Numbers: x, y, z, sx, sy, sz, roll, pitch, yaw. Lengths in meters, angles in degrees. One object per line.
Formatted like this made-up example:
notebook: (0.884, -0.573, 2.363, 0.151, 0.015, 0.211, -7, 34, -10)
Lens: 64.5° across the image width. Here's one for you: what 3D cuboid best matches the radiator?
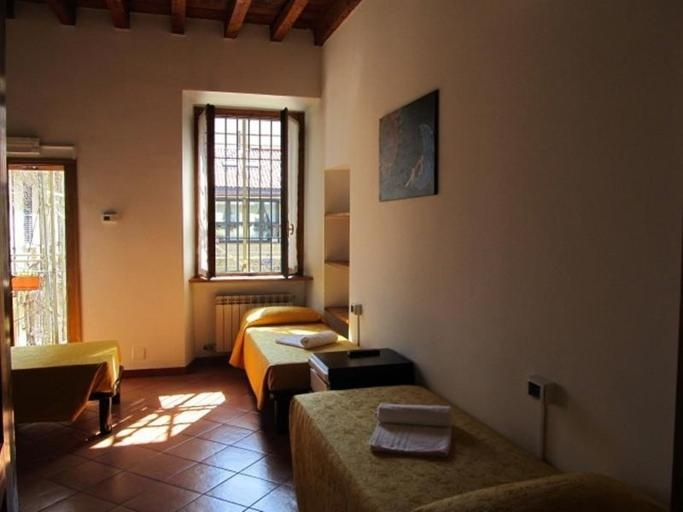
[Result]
radiator: (-0.944, 0.705, 5.669, 0.757, 0.638, 0.051, -1, 19, -14)
